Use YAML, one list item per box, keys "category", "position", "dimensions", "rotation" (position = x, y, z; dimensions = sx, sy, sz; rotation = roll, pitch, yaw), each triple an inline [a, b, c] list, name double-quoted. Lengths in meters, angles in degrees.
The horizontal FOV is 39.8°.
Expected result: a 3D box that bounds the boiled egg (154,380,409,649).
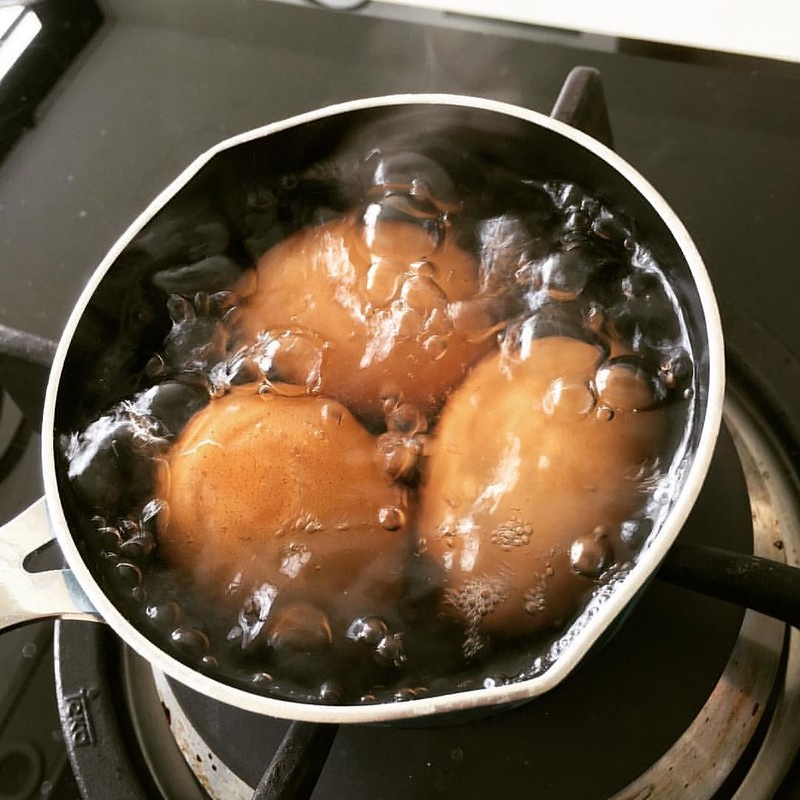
- category: "boiled egg"
  position: [-0.070, 0.069, 0.706]
  dimensions: [0.181, 0.058, 0.145]
  rotation: [35, 85, 5]
